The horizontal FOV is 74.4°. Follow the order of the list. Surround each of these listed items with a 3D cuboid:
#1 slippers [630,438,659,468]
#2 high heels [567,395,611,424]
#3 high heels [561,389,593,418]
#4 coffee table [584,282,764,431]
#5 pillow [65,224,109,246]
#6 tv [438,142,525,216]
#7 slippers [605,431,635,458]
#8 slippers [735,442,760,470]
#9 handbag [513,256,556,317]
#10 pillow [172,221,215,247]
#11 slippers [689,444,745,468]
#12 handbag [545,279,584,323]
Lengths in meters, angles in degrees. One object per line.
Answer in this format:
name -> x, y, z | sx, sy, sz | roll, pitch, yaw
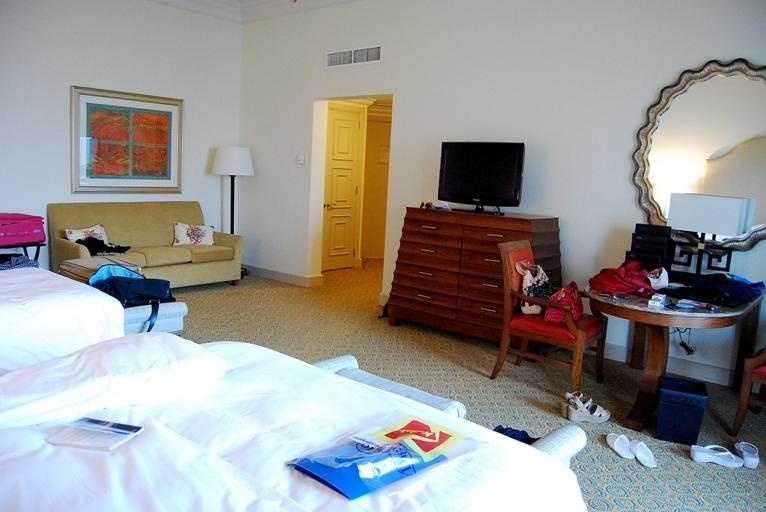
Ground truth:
slippers -> 1.873, 1.415, 3.630 | 0.104, 0.055, 0.182 | -13, 27, -1
high heels -> 1.676, 1.225, 4.138 | 0.329, 0.190, 0.190 | -2, 7, -14
high heels -> 1.604, 1.191, 4.148 | 0.298, 0.171, 0.147 | -5, 9, -30
coffee table -> 2.509, 0.890, 4.282 | 1.368, 0.954, 1.171 | 2, 10, 18
pillow -> -3.758, -0.255, 6.420 | 0.485, 0.234, 0.405 | -6, 16, -31
tv -> 1.089, -0.853, 5.477 | 0.838, 0.637, 0.273 | 7, 6, 32
slippers -> 1.745, 1.382, 3.717 | 0.091, 0.056, 0.190 | -9, 17, 1
slippers -> 2.644, 1.439, 3.671 | 0.107, 0.060, 0.191 | -3, 20, 10
handbag -> 1.398, 0.217, 4.606 | 0.271, 0.498, 0.174 | -4, -33, -4
pillow -> -2.726, -0.305, 7.215 | 0.390, 0.223, 0.114 | 2, -21, -28
slippers -> 2.399, 1.434, 3.657 | 0.272, 0.083, 0.148 | 0, 9, 10
handbag -> 1.568, 0.414, 4.470 | 0.135, 0.348, 0.388 | 8, -21, -5
